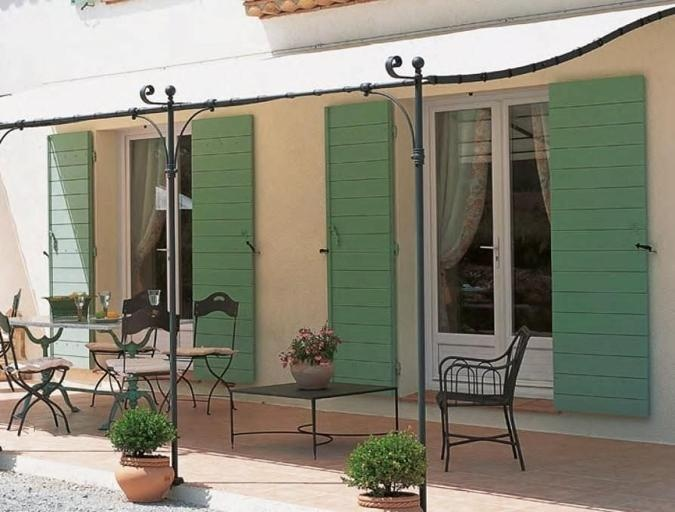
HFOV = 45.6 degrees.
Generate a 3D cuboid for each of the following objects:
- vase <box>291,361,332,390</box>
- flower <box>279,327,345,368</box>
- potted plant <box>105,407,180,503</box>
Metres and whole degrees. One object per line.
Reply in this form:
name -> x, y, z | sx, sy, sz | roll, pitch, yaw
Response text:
vase -> -0.223, 1.043, 7.231 | 0.265, 0.171, 0.272 | 0, -1, -14
flower -> -0.206, 0.855, 7.306 | 0.349, 0.275, 0.355 | 0, 17, 16
potted plant -> -1.427, 1.544, 6.299 | 0.659, 0.852, 0.613 | 0, -9, -2
